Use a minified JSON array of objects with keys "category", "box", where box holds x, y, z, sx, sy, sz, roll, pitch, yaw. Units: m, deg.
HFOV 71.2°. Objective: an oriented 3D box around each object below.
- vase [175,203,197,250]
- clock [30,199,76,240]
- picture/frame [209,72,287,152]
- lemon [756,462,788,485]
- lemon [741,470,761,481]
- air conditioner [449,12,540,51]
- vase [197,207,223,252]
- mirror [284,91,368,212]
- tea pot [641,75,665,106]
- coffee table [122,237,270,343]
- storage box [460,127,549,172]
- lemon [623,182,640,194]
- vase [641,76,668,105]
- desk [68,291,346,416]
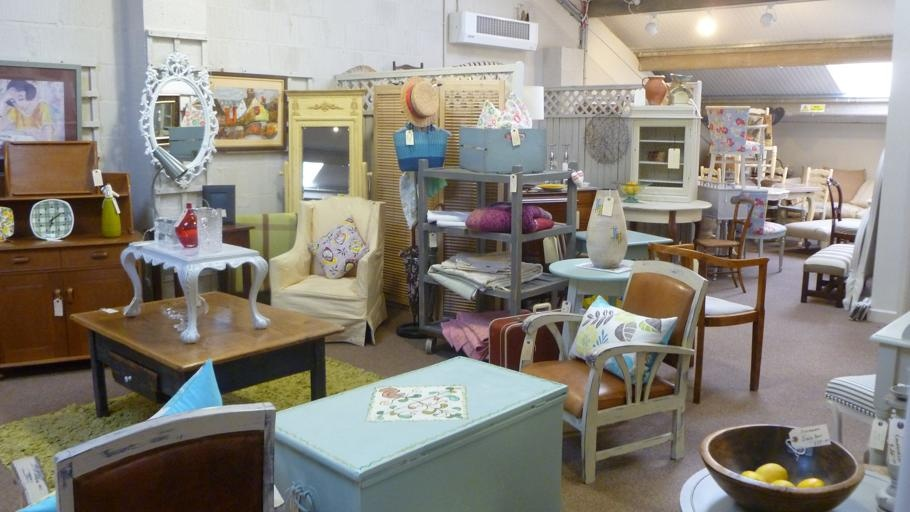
[{"category":"vase","box":[-2.112,-0.252,5.058,0.242,0.318,0.232,-3,2,-28]},{"category":"clock","box":[-3.839,-0.350,6.027,0.365,0.391,0.058,-11,6,-32]},{"category":"picture/frame","box":[-2.388,-1.633,7.177,1.018,0.778,0.071,-9,16,-39]},{"category":"lemon","box":[1.795,1.218,3.634,0.107,0.100,0.133,-29,10,-29]},{"category":"lemon","box":[1.654,1.216,3.553,0.054,0.049,0.068,-10,-7,2]},{"category":"air conditioner","box":[0.587,-3.357,9.543,1.633,0.462,0.263,-8,17,-40]},{"category":"vase","box":[-1.943,-0.198,5.102,0.258,0.363,0.251,0,-6,-24]},{"category":"mirror","box":[-1.482,-1.187,7.232,0.924,1.383,0.393,1,13,-8]},{"category":"tea pot","box":[2.654,-2.241,8.646,0.390,0.402,0.365,-1,4,0]},{"category":"coffee table","box":[-2.086,0.072,5.091,0.823,0.625,1.201,-5,11,-43]},{"category":"storage box","box":[0.397,-0.940,6.137,0.594,0.330,0.573,-4,6,-31]},{"category":"lemon","box":[2.321,-0.903,8.455,0.172,0.112,0.165,0,-1,-1]},{"category":"vase","box":[2.658,-2.217,8.651,0.413,0.425,0.386,-1,4,-5]},{"category":"desk","box":[-1.853,0.679,4.931,1.182,0.705,1.524,-9,14,-41]}]
